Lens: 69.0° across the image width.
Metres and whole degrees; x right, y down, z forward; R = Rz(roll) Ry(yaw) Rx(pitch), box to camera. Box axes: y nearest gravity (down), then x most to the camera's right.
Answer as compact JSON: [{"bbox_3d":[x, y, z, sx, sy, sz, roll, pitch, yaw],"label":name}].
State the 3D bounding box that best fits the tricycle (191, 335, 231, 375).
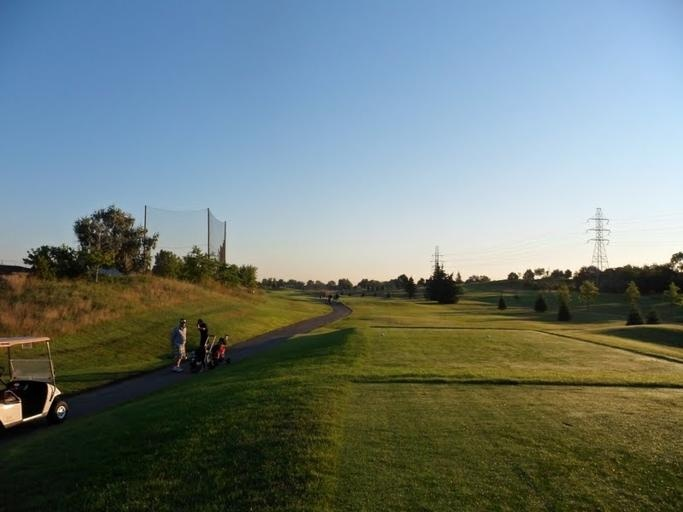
[{"bbox_3d":[-6.701,5.175,25.520,1.244,1.148,1.886,-3,-5,18],"label":"tricycle"}]
